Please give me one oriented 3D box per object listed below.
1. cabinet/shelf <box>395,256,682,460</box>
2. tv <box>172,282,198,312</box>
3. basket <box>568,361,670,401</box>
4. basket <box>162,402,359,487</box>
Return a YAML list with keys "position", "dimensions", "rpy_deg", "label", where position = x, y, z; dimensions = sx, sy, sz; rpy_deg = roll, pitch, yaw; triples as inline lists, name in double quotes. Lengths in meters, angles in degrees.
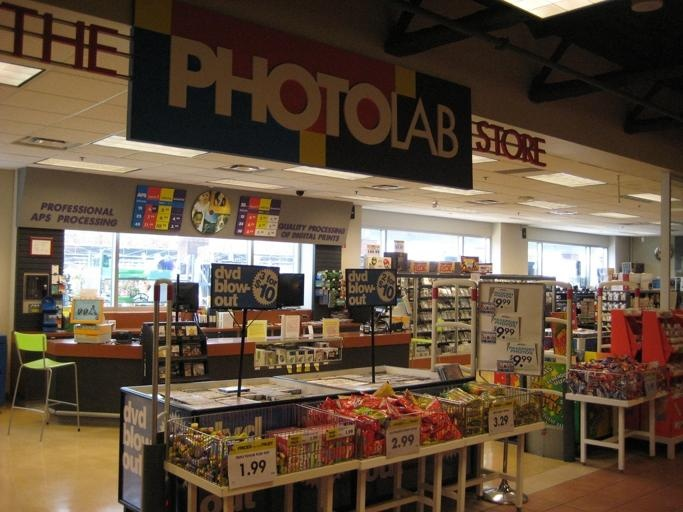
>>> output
- position: [2.390, 1.205, 9.389]
  dimensions: [3.127, 2.180, 3.210]
  rpy_deg: [2, 2, 42]
  label: "cabinet/shelf"
- position: [-2.231, 0.611, 8.238]
  dimensions: [0.246, 0.308, 0.574]
  rpy_deg: [-7, 5, -5]
  label: "tv"
- position: [3.044, 1.393, 6.462]
  dimensions: [0.482, 0.224, 0.713]
  rpy_deg: [-3, -3, 44]
  label: "basket"
- position: [-0.599, 1.305, 4.139]
  dimensions: [1.252, 0.340, 0.884]
  rpy_deg: [-10, 6, -30]
  label: "basket"
